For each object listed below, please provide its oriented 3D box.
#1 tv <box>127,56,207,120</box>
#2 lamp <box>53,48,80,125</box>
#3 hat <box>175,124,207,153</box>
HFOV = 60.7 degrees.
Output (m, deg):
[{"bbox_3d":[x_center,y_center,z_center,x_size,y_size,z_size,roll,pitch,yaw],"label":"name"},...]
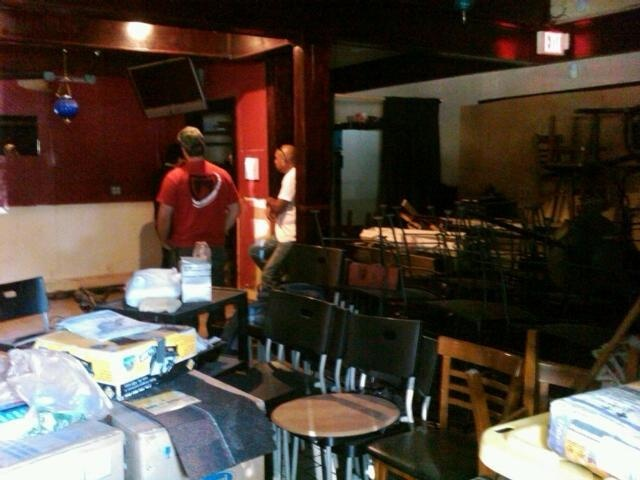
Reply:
[{"bbox_3d":[-1.303,-1.322,4.673,0.439,0.585,0.077,-12,36,15],"label":"tv"},{"bbox_3d":[-2.013,-1.200,4.333,0.202,0.567,0.187,-8,20,-34],"label":"lamp"},{"bbox_3d":[-0.905,-0.692,3.869,0.160,0.210,0.154,-4,9,-21],"label":"hat"}]
